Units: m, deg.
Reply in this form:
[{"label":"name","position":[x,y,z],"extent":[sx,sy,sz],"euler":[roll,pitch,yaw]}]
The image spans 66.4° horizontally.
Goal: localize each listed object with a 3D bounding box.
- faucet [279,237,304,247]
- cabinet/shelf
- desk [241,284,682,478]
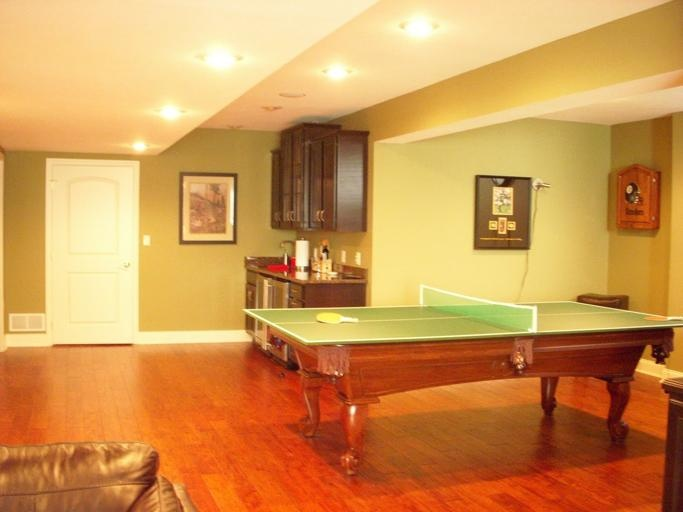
[{"label":"faucet","position":[-0.718,-0.197,7.300],"extent":[0.258,0.075,0.183],"euler":[-6,8,-38]},{"label":"cabinet/shelf","position":[-0.219,-0.934,6.145],"extent":[0.519,1.058,1.728],"euler":[1,1,-22]},{"label":"desk","position":[0.876,0.876,3.839],"extent":[2.805,1.095,0.909],"euler":[0,4,-17]}]
